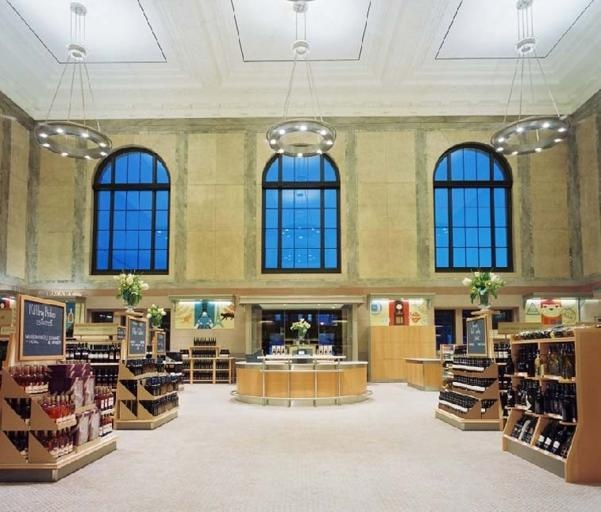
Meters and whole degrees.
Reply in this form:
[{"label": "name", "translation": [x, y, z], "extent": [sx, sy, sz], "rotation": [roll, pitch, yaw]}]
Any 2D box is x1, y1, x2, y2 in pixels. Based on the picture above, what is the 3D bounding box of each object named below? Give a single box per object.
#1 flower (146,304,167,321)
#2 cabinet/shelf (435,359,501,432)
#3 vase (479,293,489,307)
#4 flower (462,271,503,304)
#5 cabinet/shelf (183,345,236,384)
[{"label": "flower", "translation": [-4.709, 1.847, 16.963], "extent": [0.668, 0.681, 0.713], "rotation": [-1, -11, 6]}, {"label": "cabinet/shelf", "translation": [3.024, 2.490, 9.647], "extent": [0.652, 1.260, 1.310], "rotation": [11, -10, -7]}, {"label": "vase", "translation": [3.511, 0.844, 10.226], "extent": [0.165, 0.275, 0.511], "rotation": [-2, -7, 19]}, {"label": "flower", "translation": [3.590, 0.642, 10.451], "extent": [0.681, 0.710, 0.955], "rotation": [-3, -7, 24]}, {"label": "cabinet/shelf", "translation": [-3.030, 3.693, 18.146], "extent": [1.758, 1.268, 1.134], "rotation": [0, -7, -6]}]
